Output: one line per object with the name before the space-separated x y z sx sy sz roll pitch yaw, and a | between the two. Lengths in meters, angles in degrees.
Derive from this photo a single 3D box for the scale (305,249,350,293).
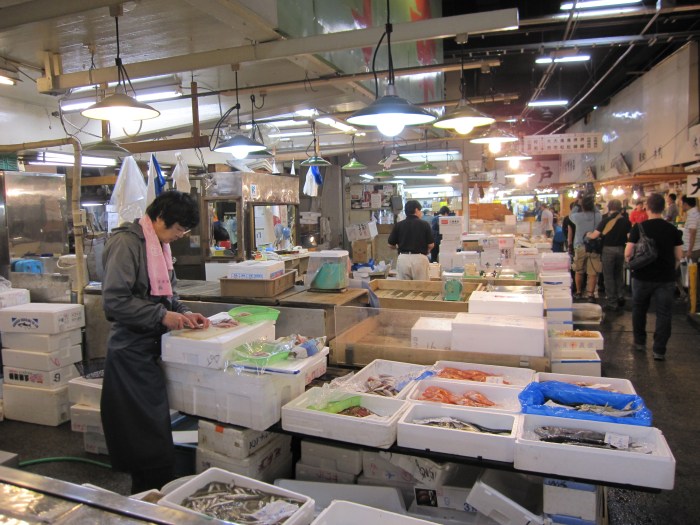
scale | -0.242 0.156 5.625 0.367 0.411 0.453 -1 -20 -6

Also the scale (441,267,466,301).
scale | 1.176 0.257 6.217 0.234 0.404 0.137 -3 -16 21

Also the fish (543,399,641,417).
fish | 1.571 0.951 3.609 0.554 0.042 0.238 1 6 15

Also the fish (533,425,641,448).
fish | 1.441 1.070 3.377 0.585 0.068 0.153 0 6 15

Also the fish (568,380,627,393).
fish | 1.766 0.888 3.912 0.350 0.061 0.245 -1 6 4

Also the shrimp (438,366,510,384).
shrimp | 0.947 0.865 4.234 0.533 0.066 0.229 0 6 14

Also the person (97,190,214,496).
person | -1.487 0.585 4.115 0.726 2.222 0.429 -4 7 -25

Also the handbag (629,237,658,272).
handbag | 3.724 -0.100 6.981 0.187 0.424 0.333 -7 -13 -24

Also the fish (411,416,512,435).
fish | 0.742 1.048 3.547 0.573 0.081 0.083 1 16 10
